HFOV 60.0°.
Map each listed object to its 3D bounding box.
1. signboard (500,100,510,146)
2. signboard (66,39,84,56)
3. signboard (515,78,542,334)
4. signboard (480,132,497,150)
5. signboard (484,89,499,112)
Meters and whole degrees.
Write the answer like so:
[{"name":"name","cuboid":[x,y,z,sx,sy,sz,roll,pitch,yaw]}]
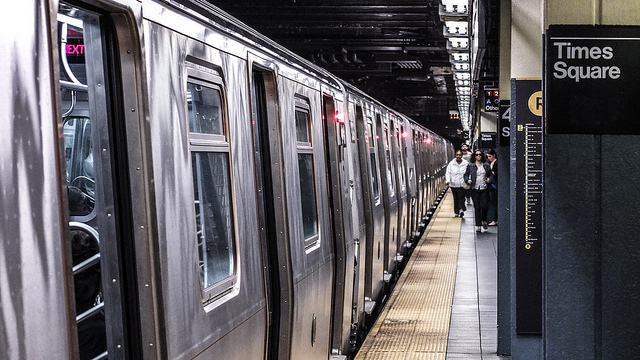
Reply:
[{"name":"signboard","cuboid":[2.357,-0.739,7.066,0.121,0.583,0.368,3,5,17]},{"name":"signboard","cuboid":[-2.099,-1.139,4.726,0.133,0.163,0.133,-1,5,-22]},{"name":"signboard","cuboid":[2.138,0.265,5.695,0.344,2.610,0.181,2,4,16]},{"name":"signboard","cuboid":[4.137,-0.963,13.551,0.329,0.587,0.645,-2,-2,29]},{"name":"signboard","cuboid":[4.074,-1.909,13.125,0.287,0.570,0.685,2,4,11]}]
